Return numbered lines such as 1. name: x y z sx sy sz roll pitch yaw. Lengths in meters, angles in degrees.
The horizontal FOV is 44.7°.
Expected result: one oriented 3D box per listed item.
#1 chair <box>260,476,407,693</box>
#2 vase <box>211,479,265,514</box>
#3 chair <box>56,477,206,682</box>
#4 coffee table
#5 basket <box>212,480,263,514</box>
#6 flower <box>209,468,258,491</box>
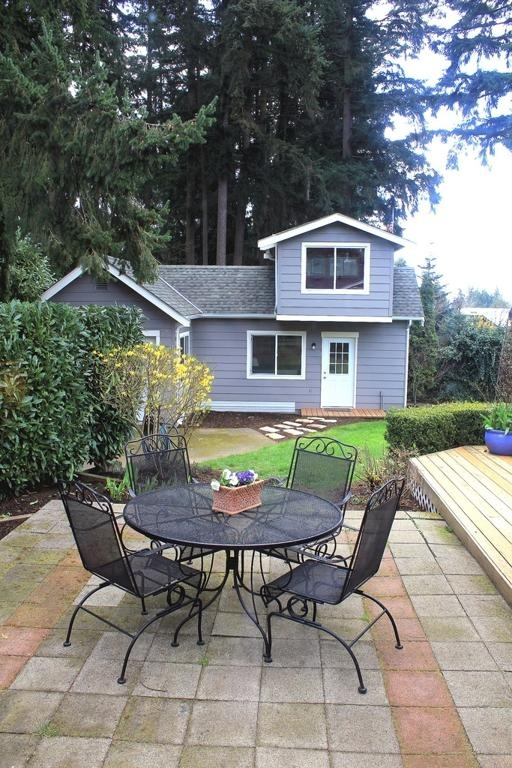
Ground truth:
1. chair: 0.475 1.124 3.760 0.716 1.158 0.637 3 4 31
2. vase: -0.119 0.762 4.204 0.190 0.157 0.287 5 9 34
3. chair: -0.552 1.277 4.050 0.726 1.057 0.723 -7 -10 15
4. coffee table: 0.081 1.142 4.256 0.974 0.610 0.985 4 7 35
5. basket: -0.119 0.765 4.193 0.187 0.153 0.280 5 9 34
6. flower: -0.127 0.642 4.143 0.254 0.139 0.194 -6 7 -41
